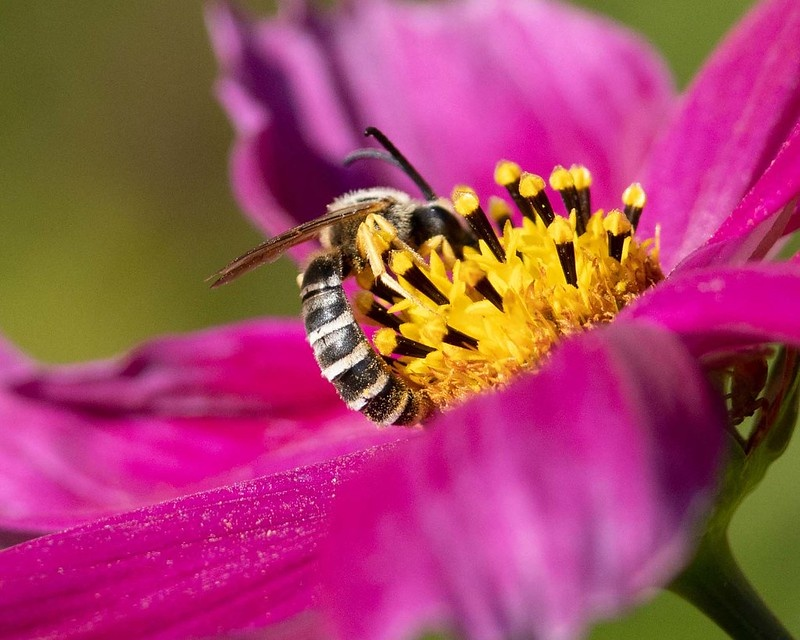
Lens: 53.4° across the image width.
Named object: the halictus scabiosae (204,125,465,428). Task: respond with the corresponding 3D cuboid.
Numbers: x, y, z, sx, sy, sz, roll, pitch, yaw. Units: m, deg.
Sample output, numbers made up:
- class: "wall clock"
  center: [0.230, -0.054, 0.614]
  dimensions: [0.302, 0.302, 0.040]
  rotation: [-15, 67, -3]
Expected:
- class: "halictus scabiosae"
  center: [-0.040, -0.047, 0.771]
  dimensions: [0.215, 0.315, 0.112]
  rotation: [-23, 51, 22]
